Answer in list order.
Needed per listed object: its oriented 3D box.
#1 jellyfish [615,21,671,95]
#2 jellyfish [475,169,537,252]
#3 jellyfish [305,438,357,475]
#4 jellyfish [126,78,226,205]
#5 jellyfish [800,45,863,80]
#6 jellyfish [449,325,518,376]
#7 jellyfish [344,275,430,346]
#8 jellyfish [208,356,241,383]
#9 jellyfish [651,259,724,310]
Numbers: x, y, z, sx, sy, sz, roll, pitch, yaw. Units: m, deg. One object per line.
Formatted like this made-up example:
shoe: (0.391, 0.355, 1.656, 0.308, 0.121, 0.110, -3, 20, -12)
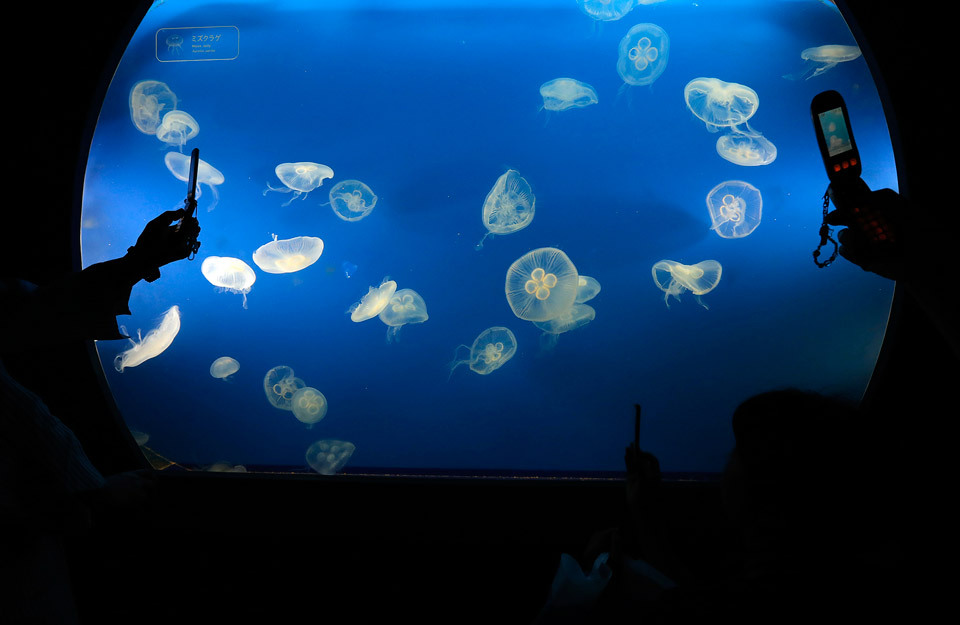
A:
jellyfish: (1.247, -1.991, 6.343, 0.364, 0.520, 0.541, -2, -2, -9)
jellyfish: (0.210, -0.868, 6.544, 0.462, 0.547, 0.417, -2, -2, -8)
jellyfish: (-1.066, 1.022, 5.750, 0.354, 0.203, 0.412, -2, -2, -9)
jellyfish: (-2.265, -1.238, 5.940, 0.271, 0.912, 0.667, -4, -3, 39)
jellyfish: (2.482, -1.814, 5.737, 0.067, 0.232, 0.507, -1, -2, -22)
jellyfish: (0.057, 0.299, 6.294, 0.294, 0.382, 0.548, -4, -3, 43)
jellyfish: (-0.699, -0.009, 6.450, 0.471, 0.490, 0.633, -2, -2, 10)
jellyfish: (-1.889, 0.405, 5.967, 0.196, 0.150, 0.149, -1, -2, -20)
jellyfish: (1.546, -0.207, 6.074, 0.503, 0.383, 0.255, -2, -2, 13)
